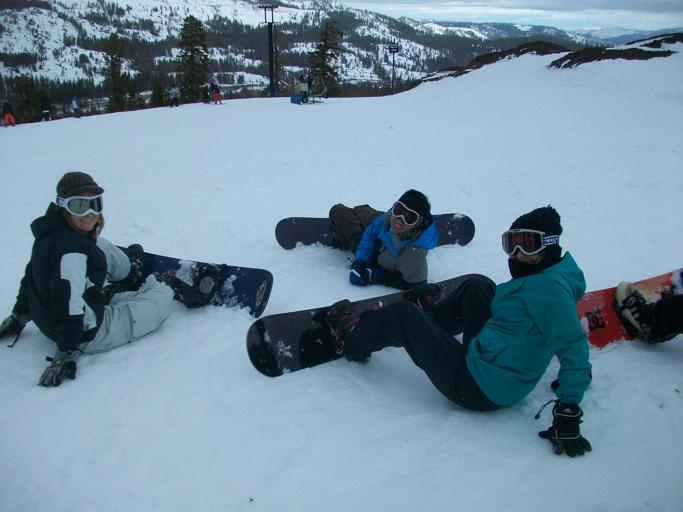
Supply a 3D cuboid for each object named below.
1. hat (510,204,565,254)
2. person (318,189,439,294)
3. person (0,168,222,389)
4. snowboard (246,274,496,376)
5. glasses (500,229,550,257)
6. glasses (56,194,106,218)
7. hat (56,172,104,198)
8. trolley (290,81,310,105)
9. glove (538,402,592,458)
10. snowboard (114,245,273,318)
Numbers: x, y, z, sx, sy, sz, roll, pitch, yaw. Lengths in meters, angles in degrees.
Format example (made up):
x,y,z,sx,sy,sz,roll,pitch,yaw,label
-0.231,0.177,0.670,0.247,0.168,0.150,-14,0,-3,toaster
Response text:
x,y,z,sx,sy,sz,roll,pitch,yaw,label
1.267,-0.137,3.553,0.355,0.326,0.290,-5,5,-9,hat
0.378,-0.117,5.532,1.244,0.694,1.724,8,8,-12,person
-1.920,-0.136,4.389,1.130,1.350,1.663,29,38,24,person
0.222,0.494,3.825,2.243,0.487,0.367,-15,-3,36,snowboard
1.147,-0.092,3.475,0.182,0.098,0.194,5,6,43,glasses
-1.866,-0.347,3.916,0.302,0.190,0.146,-13,26,-27,glasses
-1.865,-0.499,3.894,0.272,0.150,0.203,-11,-3,29,hat
-1.349,-5.244,17.664,0.530,0.562,0.967,-2,23,-4,trolley
1.381,1.021,3.318,0.294,0.322,0.169,-1,23,-1,glove
-1.260,0.246,4.834,1.596,0.404,0.237,9,-15,31,snowboard
